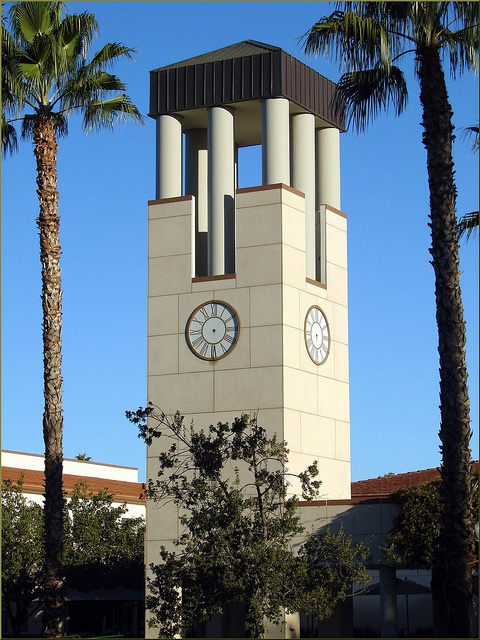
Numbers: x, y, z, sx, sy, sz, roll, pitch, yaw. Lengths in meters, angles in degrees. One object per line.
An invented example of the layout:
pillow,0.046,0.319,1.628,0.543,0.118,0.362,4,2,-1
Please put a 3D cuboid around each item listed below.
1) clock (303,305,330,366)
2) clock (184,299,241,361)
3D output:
clock,2.134,0.546,50.280,0.072,1.451,1.142,-3,-14,22
clock,-0.736,0.407,49.496,1.097,1.658,0.060,3,-3,30
